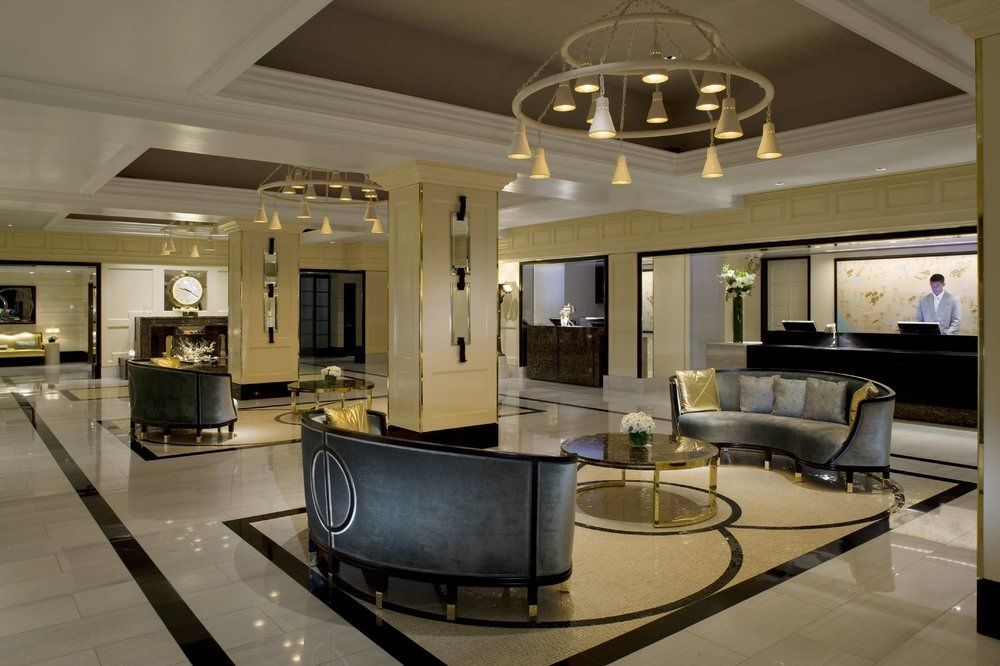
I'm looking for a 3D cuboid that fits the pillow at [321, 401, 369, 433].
[{"bbox_3d":[-1.507,0.836,6.157,0.117,0.330,0.389,-28,-23,30],"label":"pillow"}]

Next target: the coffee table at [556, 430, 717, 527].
[{"bbox_3d":[1.439,1.530,6.841,1.516,0.521,1.456,2,-1,10],"label":"coffee table"}]

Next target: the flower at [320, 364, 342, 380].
[{"bbox_3d":[-2.619,0.602,10.166,0.376,0.206,0.464,1,0,-13],"label":"flower"}]

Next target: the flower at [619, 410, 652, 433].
[{"bbox_3d":[1.443,0.940,6.876,0.298,0.281,0.314,1,12,6],"label":"flower"}]

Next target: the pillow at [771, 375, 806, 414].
[{"bbox_3d":[3.602,0.786,8.135,0.153,0.387,0.419,25,-6,-43],"label":"pillow"}]

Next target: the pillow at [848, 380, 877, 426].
[{"bbox_3d":[4.076,0.834,7.328,0.253,0.491,0.707,7,13,28],"label":"pillow"}]

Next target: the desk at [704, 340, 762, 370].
[{"bbox_3d":[4.306,0.412,12.234,0.583,0.682,1.040,2,-2,-30],"label":"desk"}]

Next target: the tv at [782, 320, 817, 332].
[{"bbox_3d":[5.539,-0.140,12.098,0.528,0.214,0.772,5,12,21],"label":"tv"}]

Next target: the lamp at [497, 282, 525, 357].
[{"bbox_3d":[0.267,-0.310,16.174,0.379,1.976,0.924,-10,16,-38],"label":"lamp"}]

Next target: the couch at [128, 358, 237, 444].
[{"bbox_3d":[-4.741,0.886,9.541,1.818,1.014,1.087,7,5,34],"label":"couch"}]

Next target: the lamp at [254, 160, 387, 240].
[{"bbox_3d":[-2.998,-2.404,10.721,1.820,1.718,1.725,-1,6,-18],"label":"lamp"}]

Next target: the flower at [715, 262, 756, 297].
[{"bbox_3d":[5.140,-1.143,13.986,0.823,0.673,0.807,-2,5,-18],"label":"flower"}]

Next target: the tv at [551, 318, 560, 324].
[{"bbox_3d":[1.349,-0.288,15.876,0.263,0.126,0.175,3,-7,11],"label":"tv"}]

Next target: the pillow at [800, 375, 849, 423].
[{"bbox_3d":[3.919,0.806,7.862,0.500,0.540,0.218,-4,-31,39],"label":"pillow"}]

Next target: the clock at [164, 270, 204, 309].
[{"bbox_3d":[-8.188,-1.144,16.821,0.140,0.898,1.100,2,-1,43],"label":"clock"}]

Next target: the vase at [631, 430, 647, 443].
[{"bbox_3d":[1.449,1.082,6.811,0.129,0.116,0.122,1,-6,-8],"label":"vase"}]

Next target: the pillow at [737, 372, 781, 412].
[{"bbox_3d":[3.320,0.751,8.312,0.510,0.492,0.200,0,-18,29],"label":"pillow"}]

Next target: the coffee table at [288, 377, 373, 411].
[{"bbox_3d":[-2.874,0.878,10.364,1.114,0.368,1.121,-1,-2,37],"label":"coffee table"}]

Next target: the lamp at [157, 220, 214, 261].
[{"bbox_3d":[-7.367,-2.314,15.569,1.494,0.649,1.172,1,2,18],"label":"lamp"}]
